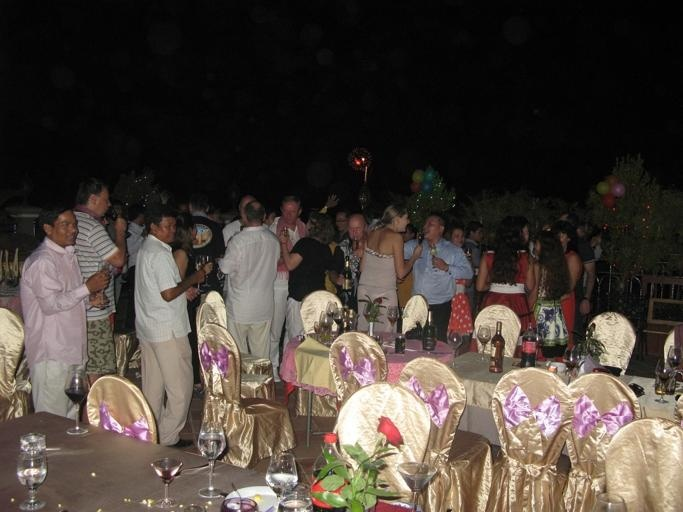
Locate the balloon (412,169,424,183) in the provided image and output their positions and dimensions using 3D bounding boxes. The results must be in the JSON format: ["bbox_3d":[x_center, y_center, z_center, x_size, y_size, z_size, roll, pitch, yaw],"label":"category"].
[{"bbox_3d":[2.000,-2.081,13.968,0.271,0.432,0.611,3,-12,10],"label":"balloon"}]

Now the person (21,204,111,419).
[{"bbox_3d":[-2.361,0.469,4.508,0.640,1.674,0.419,10,-11,-30],"label":"person"}]

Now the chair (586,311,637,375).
[{"bbox_3d":[2.712,0.798,5.392,0.408,0.626,0.404,10,25,33],"label":"chair"}]

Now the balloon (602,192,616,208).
[{"bbox_3d":[5.646,-1.192,11.443,0.248,0.311,0.256,-23,-27,32],"label":"balloon"}]

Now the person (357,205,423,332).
[{"bbox_3d":[0.512,0.144,6.063,0.626,1.482,1.320,4,-11,2],"label":"person"}]

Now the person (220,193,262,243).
[{"bbox_3d":[-1.234,-0.456,7.201,0.289,0.613,0.964,1,4,-30],"label":"person"}]

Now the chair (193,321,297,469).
[{"bbox_3d":[-0.836,1.169,4.909,0.808,1.220,0.814,1,5,22],"label":"chair"}]

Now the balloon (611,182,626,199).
[{"bbox_3d":[5.786,-1.396,11.331,0.244,0.270,0.296,18,-8,-6],"label":"balloon"}]

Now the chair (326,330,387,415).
[{"bbox_3d":[0.150,1.036,4.279,0.529,0.736,0.572,4,3,10],"label":"chair"}]

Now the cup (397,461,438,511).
[{"bbox_3d":[0.377,1.118,2.636,0.126,0.226,0.255,-1,-12,30],"label":"cup"}]

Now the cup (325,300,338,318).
[{"bbox_3d":[-0.092,0.520,5.299,0.118,0.198,0.132,0,-1,-11],"label":"cup"}]

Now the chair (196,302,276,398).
[{"bbox_3d":[-1.080,1.032,5.672,0.669,1.011,0.631,2,12,-30],"label":"chair"}]

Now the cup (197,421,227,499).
[{"bbox_3d":[-0.703,1.075,2.894,0.151,0.379,0.275,7,-11,-16],"label":"cup"}]

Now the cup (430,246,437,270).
[{"bbox_3d":[1.087,-0.006,6.340,0.087,0.269,0.198,3,-10,9],"label":"cup"}]

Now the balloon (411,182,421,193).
[{"bbox_3d":[1.932,-1.856,14.044,0.213,0.275,0.236,-7,-28,2],"label":"balloon"}]

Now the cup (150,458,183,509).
[{"bbox_3d":[-0.858,1.129,2.742,0.203,0.272,0.203,1,5,0],"label":"cup"}]

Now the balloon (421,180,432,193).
[{"bbox_3d":[2.187,-1.812,13.686,0.238,0.278,0.352,-1,-13,28],"label":"balloon"}]

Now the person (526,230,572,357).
[{"bbox_3d":[2.161,0.384,5.551,0.390,1.317,0.680,0,-11,23],"label":"person"}]

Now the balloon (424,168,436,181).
[{"bbox_3d":[2.265,-2.146,13.676,0.278,0.375,0.297,1,-3,20],"label":"balloon"}]

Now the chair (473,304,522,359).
[{"bbox_3d":[1.660,0.762,5.613,0.475,0.837,0.572,2,-5,15],"label":"chair"}]

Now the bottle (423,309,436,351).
[{"bbox_3d":[0.831,0.688,5.078,0.130,0.401,0.375,3,-11,9],"label":"bottle"}]
